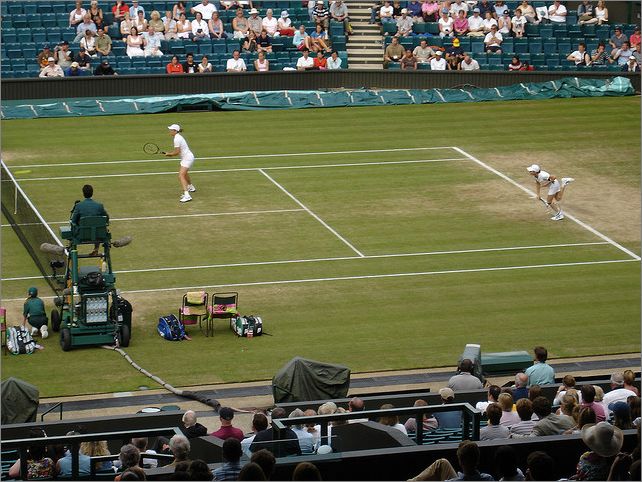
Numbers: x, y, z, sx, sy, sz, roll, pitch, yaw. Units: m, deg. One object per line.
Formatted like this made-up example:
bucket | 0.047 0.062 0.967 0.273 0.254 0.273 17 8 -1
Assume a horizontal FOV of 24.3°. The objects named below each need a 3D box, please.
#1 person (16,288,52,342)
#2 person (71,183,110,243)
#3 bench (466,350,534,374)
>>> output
person | -8.358 2.102 43.027 1.028 1.238 1.162 -3 20 -20
person | -6.641 -0.664 42.047 1.032 1.768 1.015 -6 12 -8
bench | 5.128 3.454 41.637 1.491 0.267 0.881 0 4 -6
